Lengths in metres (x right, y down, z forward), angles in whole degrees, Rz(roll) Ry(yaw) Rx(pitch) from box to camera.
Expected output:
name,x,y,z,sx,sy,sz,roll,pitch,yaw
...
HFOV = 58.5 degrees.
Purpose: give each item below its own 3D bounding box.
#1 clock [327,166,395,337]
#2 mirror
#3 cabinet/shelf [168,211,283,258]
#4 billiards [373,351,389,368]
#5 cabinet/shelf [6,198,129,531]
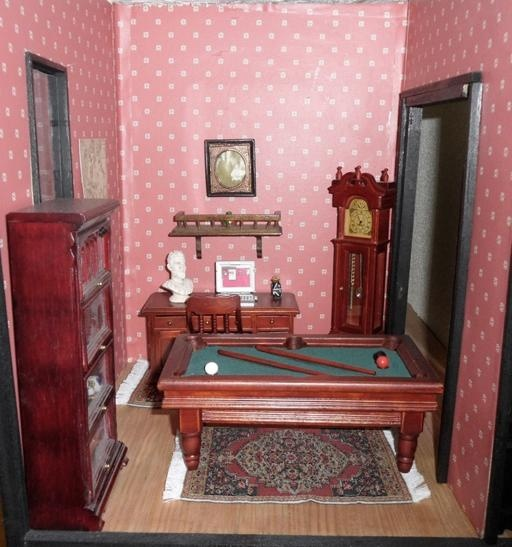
name,x,y,z,sx,sy,sz,roll,pitch,yaw
clock,0.982,-0.187,4.376,0.611,1.620,0.391,2,11,11
mirror,-0.253,-1.067,4.512,0.551,0.548,0.057,0,15,1
cabinet/shelf,-0.288,-0.353,4.606,1.064,0.491,0.386,0,9,6
billiards,0.762,0.525,2.777,0.065,0.043,0.088,-3,26,3
cabinet/shelf,-1.019,0.523,2.570,0.429,1.835,0.576,-1,11,-2
